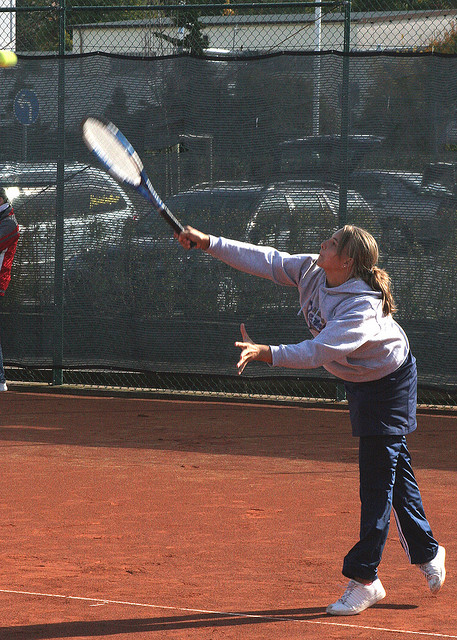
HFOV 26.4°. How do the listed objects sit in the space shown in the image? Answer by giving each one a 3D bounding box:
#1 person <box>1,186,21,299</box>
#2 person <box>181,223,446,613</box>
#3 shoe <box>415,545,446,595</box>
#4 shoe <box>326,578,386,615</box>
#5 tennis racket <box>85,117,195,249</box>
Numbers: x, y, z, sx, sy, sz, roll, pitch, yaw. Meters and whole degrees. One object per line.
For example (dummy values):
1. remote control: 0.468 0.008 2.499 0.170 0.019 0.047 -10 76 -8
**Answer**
1. person: -1.909 -0.704 8.535 0.170 0.946 0.381 0 4 -13
2. person: 0.494 0.362 3.730 0.710 1.428 0.802 1 3 1
3. shoe: 0.792 0.966 3.778 0.097 0.192 0.074 0 -11 -9
4. shoe: 0.469 1.022 3.647 0.270 0.101 0.088 -11 -6 -38
5. tennis racket: -0.473 -0.692 4.490 0.376 0.524 0.716 0 3 -9
